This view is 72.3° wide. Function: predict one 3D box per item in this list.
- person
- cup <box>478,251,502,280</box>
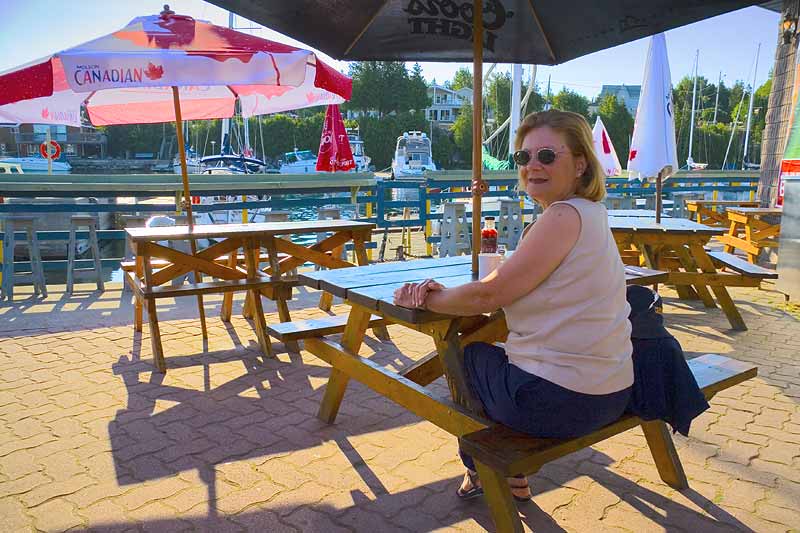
[{"bbox_3d":[0.882,0.395,3.585,1.221,2.770,0.696,1,13,18],"label":"person"},{"bbox_3d":[0.657,-0.003,3.956,0.183,0.193,0.203,0,3,-9],"label":"cup"}]
